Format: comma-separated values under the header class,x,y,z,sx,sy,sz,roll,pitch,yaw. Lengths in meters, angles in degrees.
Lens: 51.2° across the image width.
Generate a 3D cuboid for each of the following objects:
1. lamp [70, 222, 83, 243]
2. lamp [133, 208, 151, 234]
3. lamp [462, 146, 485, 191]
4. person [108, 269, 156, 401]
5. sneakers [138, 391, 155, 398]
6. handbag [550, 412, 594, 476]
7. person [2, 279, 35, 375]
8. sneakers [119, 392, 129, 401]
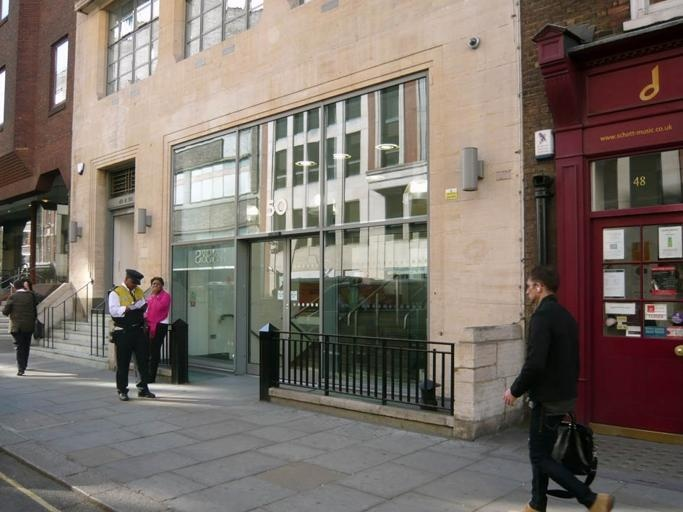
class,x,y,z,sx,sy,sz,roll,pitch,yaw
lamp,-8.188,-0.761,22.011,0.507,0.623,0.186,2,6,30
lamp,-5.310,-0.966,19.182,0.406,0.666,0.416,-3,5,-20
lamp,2.295,-1.521,12.525,0.360,0.732,0.313,-1,3,2
person,-3.982,1.496,13.629,0.775,2.435,0.784,1,5,23
sneakers,-3.722,2.641,13.695,0.315,0.133,0.136,0,-3,8
handbag,2.745,2.260,8.410,0.465,0.697,0.241,1,5,17
person,-7.480,1.708,16.688,0.662,2.085,1.584,-3,6,-25
sneakers,-4.089,2.619,13.471,0.179,0.138,0.317,-3,5,-18
